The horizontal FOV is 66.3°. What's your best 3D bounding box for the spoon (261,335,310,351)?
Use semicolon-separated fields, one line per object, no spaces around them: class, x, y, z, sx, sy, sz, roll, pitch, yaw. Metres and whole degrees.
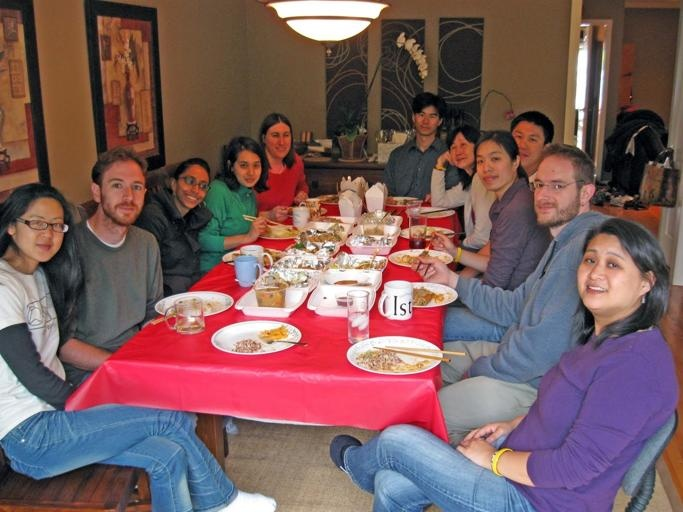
spoon;-0.205;0.307;1.882;0.212;0.027;0.051;7;41;15

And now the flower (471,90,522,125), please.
flower;1.760;-1.707;5.920;0.388;0.384;0.144;4;17;18

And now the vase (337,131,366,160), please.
vase;0.133;-1.218;5.859;0.309;0.250;0.335;1;9;12

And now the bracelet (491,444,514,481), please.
bracelet;0.479;0.624;1.593;0.074;0.081;0.035;3;2;-30

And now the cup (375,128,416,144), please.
cup;0.595;-1.343;5.866;0.298;0.135;0.230;-5;17;-15

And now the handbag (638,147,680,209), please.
handbag;2.856;-0.720;4.687;0.294;0.499;0.435;8;18;29

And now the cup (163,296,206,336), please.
cup;-0.595;0.224;2.005;0.167;0.123;0.104;-4;17;-17

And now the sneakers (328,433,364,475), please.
sneakers;0.010;0.781;2.081;0.157;0.106;0.061;36;4;40
